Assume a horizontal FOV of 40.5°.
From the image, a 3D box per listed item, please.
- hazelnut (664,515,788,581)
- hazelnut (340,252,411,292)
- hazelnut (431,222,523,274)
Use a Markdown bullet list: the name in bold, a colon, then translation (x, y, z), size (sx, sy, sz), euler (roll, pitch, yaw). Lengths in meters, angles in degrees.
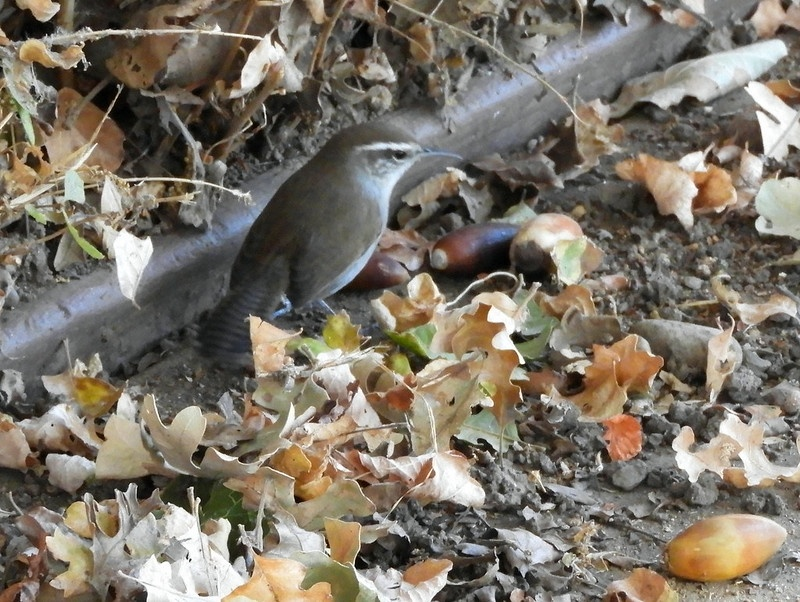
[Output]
- **hazelnut**: translation (0.765, 0.570, 2.542), size (0.286, 0.145, 0.140), euler (-13, 89, 10)
- **hazelnut**: translation (-0.060, -0.082, 3.349), size (0.206, 0.063, 0.111), euler (-3, 54, -6)
- **hazelnut**: translation (0.255, -0.189, 3.476), size (0.377, 0.141, 0.182), euler (-20, 16, -39)
